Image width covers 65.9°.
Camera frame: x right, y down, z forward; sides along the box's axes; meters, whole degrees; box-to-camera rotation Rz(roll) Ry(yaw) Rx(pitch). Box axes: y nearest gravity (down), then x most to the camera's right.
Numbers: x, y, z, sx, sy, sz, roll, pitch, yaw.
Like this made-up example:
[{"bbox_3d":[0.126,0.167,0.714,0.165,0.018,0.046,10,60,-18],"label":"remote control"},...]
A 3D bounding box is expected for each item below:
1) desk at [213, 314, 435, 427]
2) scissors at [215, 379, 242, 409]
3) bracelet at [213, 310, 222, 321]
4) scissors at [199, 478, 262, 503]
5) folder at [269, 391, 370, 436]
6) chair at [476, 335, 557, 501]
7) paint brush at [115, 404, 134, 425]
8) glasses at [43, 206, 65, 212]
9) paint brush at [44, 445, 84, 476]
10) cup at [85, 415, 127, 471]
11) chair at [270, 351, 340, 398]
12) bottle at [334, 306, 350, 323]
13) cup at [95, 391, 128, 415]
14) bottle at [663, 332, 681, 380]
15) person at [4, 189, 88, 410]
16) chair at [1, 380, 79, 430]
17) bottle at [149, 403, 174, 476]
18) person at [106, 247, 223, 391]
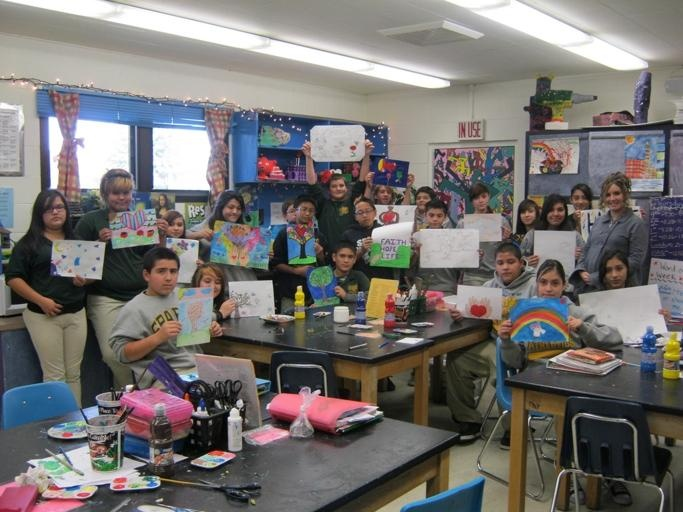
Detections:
[{"bbox_3d":[-0.127,0.937,3.757,1.376,0.647,0.996,-7,-13,29],"label":"desk"},{"bbox_3d":[-0.474,0.582,2.208,0.120,0.115,0.028,-4,-8,-17],"label":"scissors"},{"bbox_3d":[-0.942,0.451,3.961,0.066,0.047,0.067,6,11,44],"label":"bracelet"},{"bbox_3d":[-0.369,0.801,1.799,0.130,0.010,0.070,3,9,21],"label":"scissors"},{"bbox_3d":[-0.139,0.660,2.283,0.251,0.065,0.210,3,5,30],"label":"folder"},{"bbox_3d":[1.071,1.089,3.698,0.558,0.810,0.543,-24,-23,31],"label":"chair"},{"bbox_3d":[-0.841,0.616,2.047,0.062,0.017,0.061,-38,13,46],"label":"paint brush"},{"bbox_3d":[-2.101,-0.343,3.846,0.127,0.049,0.038,-4,11,-29],"label":"glasses"},{"bbox_3d":[-1.010,0.736,1.924,0.293,0.021,0.064,18,24,42],"label":"paint brush"},{"bbox_3d":[-0.863,0.708,1.947,0.145,0.159,0.143,-1,-12,0],"label":"cup"},{"bbox_3d":[-0.206,0.635,3.080,0.298,0.434,0.301,1,4,9],"label":"chair"},{"bbox_3d":[-0.011,0.449,4.037,0.116,0.095,0.116,1,2,32],"label":"bottle"},{"bbox_3d":[-0.957,0.598,2.192,0.109,0.086,0.118,1,-3,0],"label":"cup"},{"bbox_3d":[1.821,0.536,2.891,0.089,0.239,0.206,7,11,32],"label":"bottle"},{"bbox_3d":[-2.166,0.323,3.874,0.494,1.607,0.266,-5,11,-29],"label":"person"},{"bbox_3d":[-1.486,0.687,2.658,0.271,0.342,0.258,-3,-3,-39],"label":"chair"},{"bbox_3d":[-0.668,0.665,1.932,0.080,0.230,0.157,-3,10,-21],"label":"bottle"},{"bbox_3d":[-1.068,0.377,3.052,0.472,0.810,0.534,-6,12,-36],"label":"person"}]
